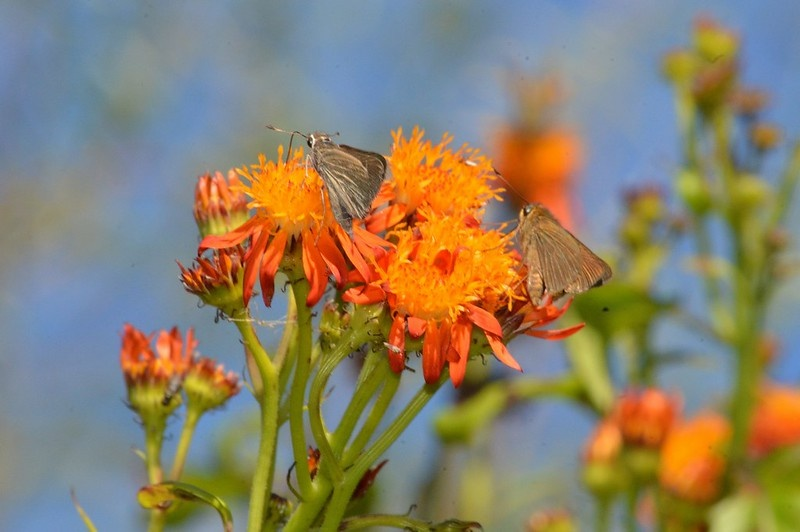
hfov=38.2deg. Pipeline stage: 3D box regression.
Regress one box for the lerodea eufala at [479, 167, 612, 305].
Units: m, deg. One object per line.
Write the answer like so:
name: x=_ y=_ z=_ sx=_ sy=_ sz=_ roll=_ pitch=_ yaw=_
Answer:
lerodea eufala: x=0.276 y=0.010 z=2.186 sx=0.239 sy=0.211 sz=0.168 roll=42 pitch=66 yaw=-9

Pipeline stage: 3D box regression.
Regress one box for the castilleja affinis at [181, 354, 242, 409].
castilleja affinis: x=-0.385 y=0.253 z=2.280 sx=0.103 sy=0.125 sz=0.131 roll=10 pitch=77 yaw=-2

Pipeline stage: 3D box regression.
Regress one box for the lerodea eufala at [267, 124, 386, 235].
lerodea eufala: x=-0.131 y=-0.168 z=2.116 sx=0.191 sy=0.212 sz=0.124 roll=29 pitch=77 yaw=-3

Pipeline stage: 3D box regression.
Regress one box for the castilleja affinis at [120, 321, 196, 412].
castilleja affinis: x=-0.469 y=0.195 z=2.231 sx=0.136 sy=0.051 sz=0.157 roll=-1 pitch=74 yaw=3

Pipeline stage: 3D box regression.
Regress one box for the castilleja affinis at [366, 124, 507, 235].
castilleja affinis: x=0.073 y=-0.168 z=2.181 sx=0.288 sy=0.277 sz=0.190 roll=3 pitch=90 yaw=-34

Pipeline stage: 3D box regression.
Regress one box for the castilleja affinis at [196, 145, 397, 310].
castilleja affinis: x=-0.180 y=-0.084 z=2.098 sx=0.250 sy=0.225 sz=0.169 roll=-2 pitch=83 yaw=0
